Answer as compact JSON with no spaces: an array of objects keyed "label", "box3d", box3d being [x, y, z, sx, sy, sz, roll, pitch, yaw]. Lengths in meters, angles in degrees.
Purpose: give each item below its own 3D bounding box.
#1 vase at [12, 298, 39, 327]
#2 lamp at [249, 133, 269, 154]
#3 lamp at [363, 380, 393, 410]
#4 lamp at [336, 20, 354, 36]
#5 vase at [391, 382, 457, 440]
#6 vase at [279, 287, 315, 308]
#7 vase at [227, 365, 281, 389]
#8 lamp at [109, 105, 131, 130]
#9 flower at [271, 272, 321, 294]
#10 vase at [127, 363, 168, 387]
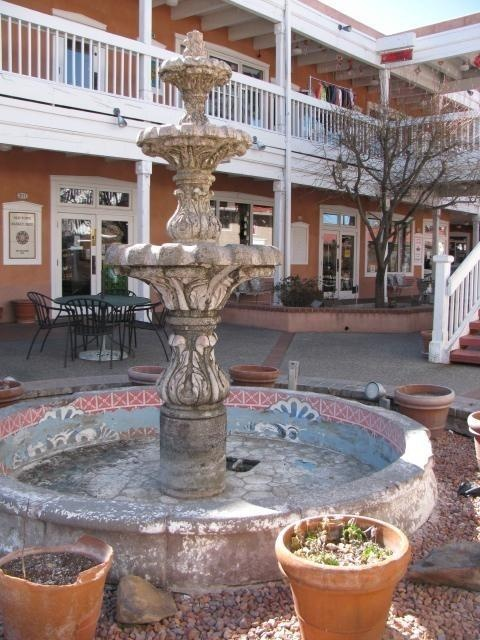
[{"label":"vase","box3d":[-4.740,-0.180,11.495,0.549,0.450,0.550,4,9,15]},{"label":"lamp","box3d":[0.429,-4.195,12.124,0.268,0.356,0.900,1,6,25]},{"label":"lamp","box3d":[1.417,0.755,5.211,0.346,0.173,0.199,24,-12,-41]},{"label":"lamp","box3d":[2.802,-7.873,13.843,0.320,0.202,0.391,-14,22,-41]},{"label":"vase","box3d":[1.622,0.758,4.602,0.503,0.366,0.496,-2,5,-7]},{"label":"vase","box3d":[1.371,-0.581,12.319,0.851,0.477,0.404,-1,6,5]},{"label":"vase","box3d":[0.137,0.596,5.322,0.492,0.227,0.417,-2,6,-3]},{"label":"lamp","box3d":[-2.268,-3.850,9.733,0.272,0.372,0.367,-3,6,-11]},{"label":"flower","box3d":[1.392,-0.957,13.206,1.279,0.596,1.274,2,7,-3]},{"label":"vase","box3d":[-0.944,0.578,5.188,0.328,0.178,0.772,-2,6,-8]}]
